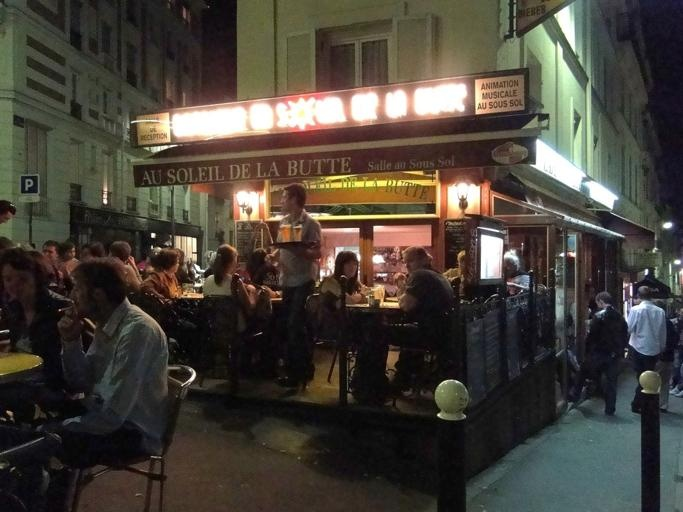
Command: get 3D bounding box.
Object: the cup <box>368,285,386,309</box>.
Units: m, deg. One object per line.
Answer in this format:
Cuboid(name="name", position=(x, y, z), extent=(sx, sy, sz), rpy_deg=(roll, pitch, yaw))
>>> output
Cuboid(name="cup", position=(0.496, 0.567, 9.315), extent=(0.284, 0.315, 0.155), rpy_deg=(0, 0, -45))
